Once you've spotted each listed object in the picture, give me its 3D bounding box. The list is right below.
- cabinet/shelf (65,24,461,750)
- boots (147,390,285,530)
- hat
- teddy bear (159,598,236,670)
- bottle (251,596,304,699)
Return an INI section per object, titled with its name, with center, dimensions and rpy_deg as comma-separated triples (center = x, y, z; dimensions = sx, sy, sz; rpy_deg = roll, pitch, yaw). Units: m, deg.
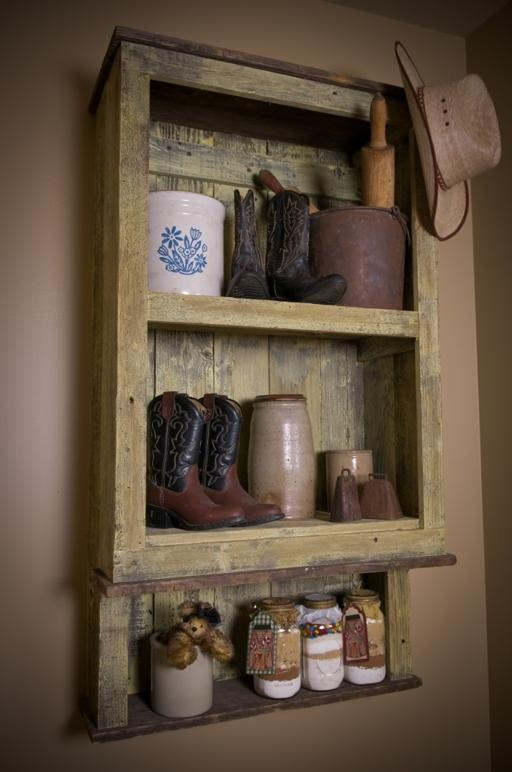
[cabinet/shelf]
center = 0.019, 0.006, 1.456
dimensions = 0.678, 1.169, 0.331
rpy_deg = 2, -3, -22
[boots]
center = -0.091, 0.134, 1.365
dimensions = 0.202, 0.242, 0.236
rpy_deg = 1, -1, -30
[hat]
center = 0.361, -0.447, 1.457
dimensions = 0.152, 0.390, 0.230
rpy_deg = -14, 22, 17
[teddy bear]
center = -0.109, 0.438, 1.357
dimensions = 0.112, 0.092, 0.178
rpy_deg = 2, 4, -14
[bottle]
center = 0.039, 0.507, 1.453
dimensions = 0.100, 0.167, 0.180
rpy_deg = 0, -1, 3
